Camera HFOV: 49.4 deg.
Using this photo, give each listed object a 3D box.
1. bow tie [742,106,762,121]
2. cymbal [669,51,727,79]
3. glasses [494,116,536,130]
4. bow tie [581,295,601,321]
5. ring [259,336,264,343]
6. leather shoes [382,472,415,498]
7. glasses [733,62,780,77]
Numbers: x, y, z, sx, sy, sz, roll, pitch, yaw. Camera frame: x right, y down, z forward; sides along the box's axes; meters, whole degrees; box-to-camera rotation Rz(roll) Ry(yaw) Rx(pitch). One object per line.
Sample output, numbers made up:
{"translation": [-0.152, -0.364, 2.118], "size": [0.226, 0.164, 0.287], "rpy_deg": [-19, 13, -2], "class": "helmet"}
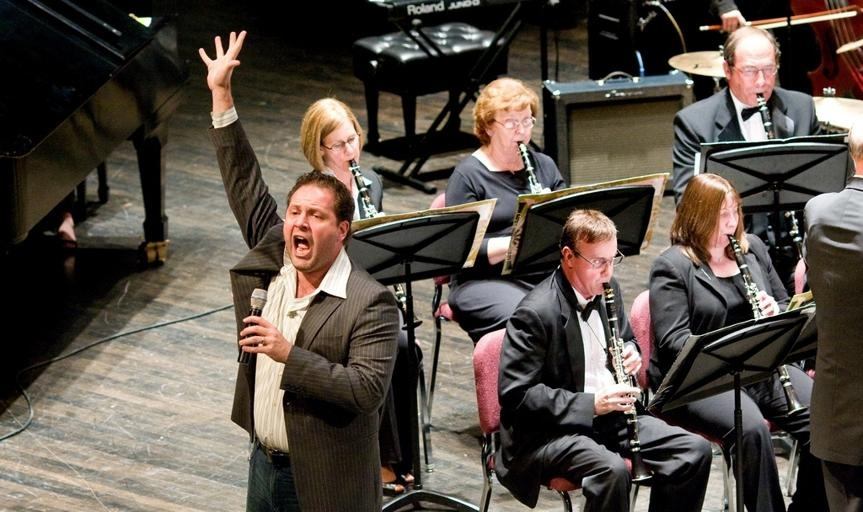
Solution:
{"translation": [2.115, -0.940, 6.235], "size": [0.113, 0.096, 0.041], "rpy_deg": [-1, 21, -9], "class": "bow tie"}
{"translation": [2.250, -1.614, 7.922], "size": [0.592, 0.105, 0.532], "rpy_deg": [7, 30, 10], "class": "cymbal"}
{"translation": [0.543, -0.831, 5.857], "size": [0.261, 0.069, 0.084], "rpy_deg": [-5, 20, -22], "class": "glasses"}
{"translation": [0.853, 0.282, 5.000], "size": [0.056, 0.122, 0.132], "rpy_deg": [22, 0, -17], "class": "bow tie"}
{"translation": [-0.753, 0.377, 4.167], "size": [0.007, 0.019, 0.017], "rpy_deg": [7, 10, 34], "class": "ring"}
{"translation": [-0.204, 1.372, 5.607], "size": [0.123, 0.040, 0.189], "rpy_deg": [-8, 4, -36], "class": "leather shoes"}
{"translation": [2.123, -1.208, 6.124], "size": [0.276, 0.092, 0.101], "rpy_deg": [2, 19, 0], "class": "glasses"}
